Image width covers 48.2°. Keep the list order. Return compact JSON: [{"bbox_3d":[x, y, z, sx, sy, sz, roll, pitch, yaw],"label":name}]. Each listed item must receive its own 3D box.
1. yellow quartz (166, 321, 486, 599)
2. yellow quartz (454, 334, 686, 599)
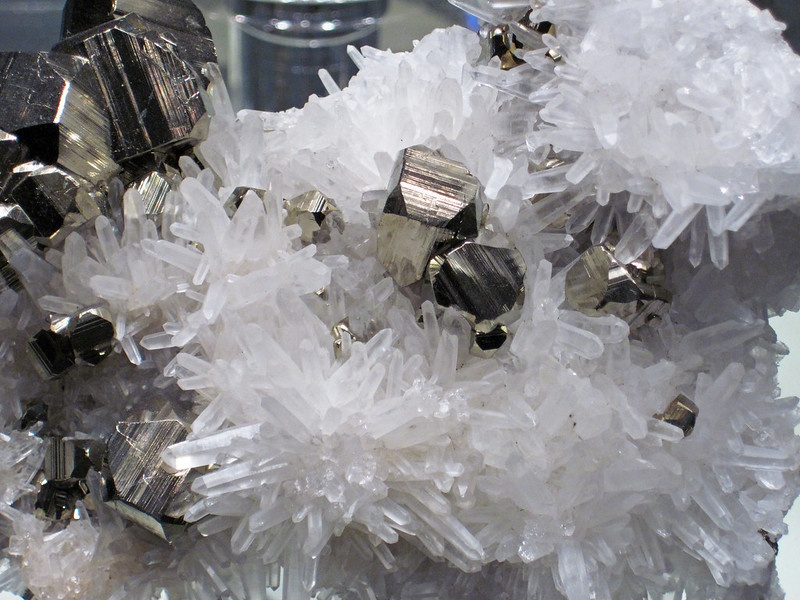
[{"bbox_3d":[-0.050,0.093,0.526,0.161,0.064,0.173,-24,83,-15],"label":"yellow quartz"},{"bbox_3d":[0.090,0.091,0.595,0.143,0.056,0.159,-35,105,2],"label":"yellow quartz"}]
